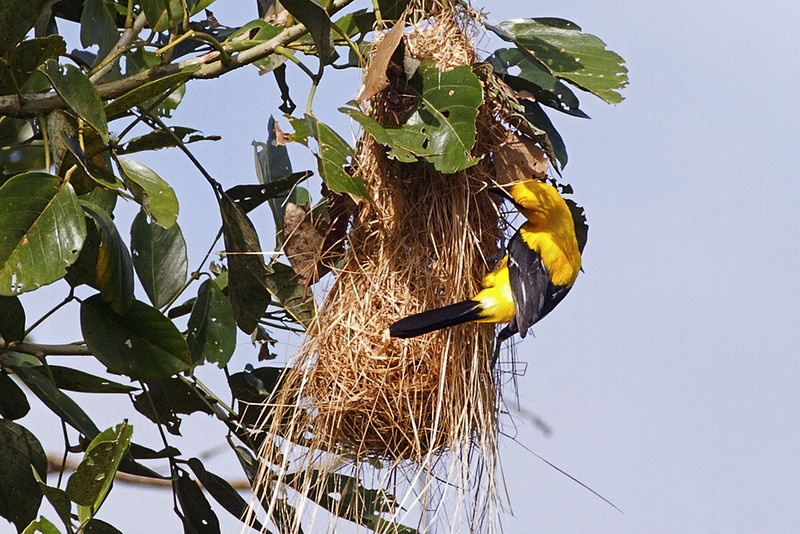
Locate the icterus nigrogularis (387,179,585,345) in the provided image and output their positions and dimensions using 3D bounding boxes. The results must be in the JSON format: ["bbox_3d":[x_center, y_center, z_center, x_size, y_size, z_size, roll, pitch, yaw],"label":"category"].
[{"bbox_3d":[0.179,0.024,2.549,0.141,0.448,0.330,0,-73,59],"label":"icterus nigrogularis"}]

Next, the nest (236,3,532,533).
[{"bbox_3d":[-0.009,0.057,2.527,0.510,0.897,0.906,7,-49,5],"label":"nest"}]

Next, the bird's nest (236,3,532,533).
[{"bbox_3d":[-0.009,0.057,2.527,0.510,0.897,0.906,7,-49,5],"label":"bird's nest"}]
